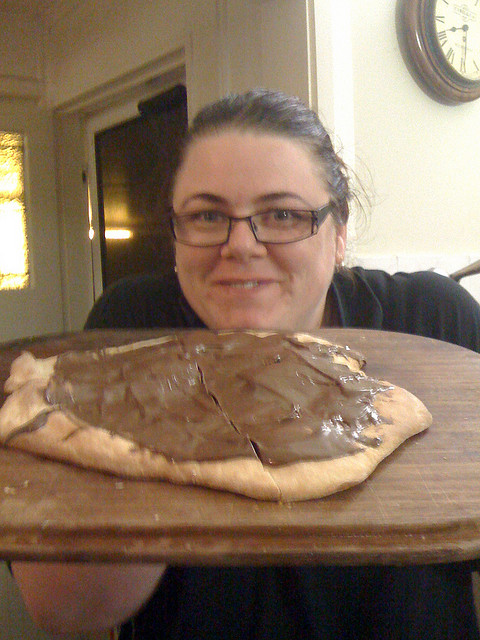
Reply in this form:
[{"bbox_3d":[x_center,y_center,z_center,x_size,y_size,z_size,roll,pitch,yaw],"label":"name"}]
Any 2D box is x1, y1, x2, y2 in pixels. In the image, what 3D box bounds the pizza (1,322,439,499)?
[{"bbox_3d":[-0.034,0.091,0.564,0.254,0.026,0.202,1,14,5],"label":"pizza"}]
